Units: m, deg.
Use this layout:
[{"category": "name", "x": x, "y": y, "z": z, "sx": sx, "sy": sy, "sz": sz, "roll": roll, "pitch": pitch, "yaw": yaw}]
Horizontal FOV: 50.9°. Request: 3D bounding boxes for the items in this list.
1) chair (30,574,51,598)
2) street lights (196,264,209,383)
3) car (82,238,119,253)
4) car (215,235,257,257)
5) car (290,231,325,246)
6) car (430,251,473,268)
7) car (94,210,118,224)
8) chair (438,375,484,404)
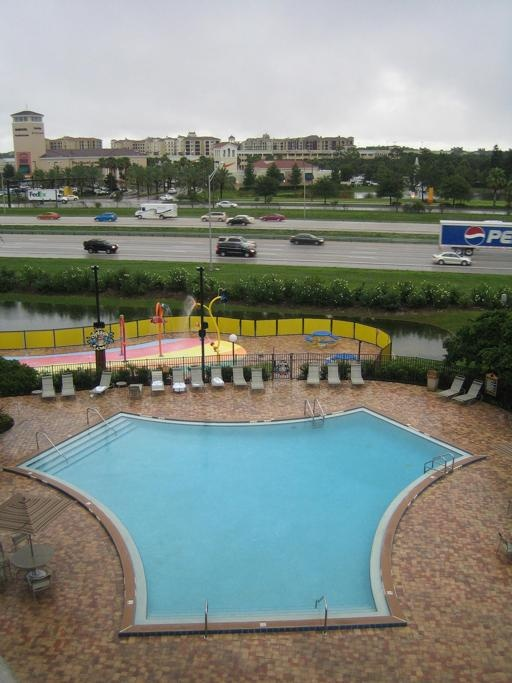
[{"category": "chair", "x": -4.012, "y": 4.540, "z": 10.108, "sx": 0.301, "sy": 0.449, "sz": 0.339, "roll": -5, "pitch": 40, "yaw": -25}, {"category": "street lights", "x": -2.404, "y": -0.655, "z": 24.097, "sx": 0.759, "sy": 4.896, "sz": 0.633, "roll": -6, "pitch": 18, "yaw": -21}, {"category": "car", "x": -16.320, "y": -9.932, "z": 56.412, "sx": 3.461, "sy": 1.399, "sz": 1.330, "roll": 4, "pitch": 10, "yaw": 25}, {"category": "car", "x": -2.057, "y": -9.618, "z": 55.181, "sx": 3.972, "sy": 1.979, "sz": 2.121, "roll": 0, "pitch": 9, "yaw": -2}, {"category": "car", "x": 5.898, "y": -11.755, "z": 62.376, "sx": 3.644, "sy": 1.424, "sz": 1.861, "roll": 1, "pitch": 9, "yaw": 6}, {"category": "car", "x": 18.517, "y": -7.620, "z": 50.947, "sx": 3.450, "sy": 1.264, "sz": 1.627, "roll": 0, "pitch": 19, "yaw": 8}, {"category": "car", "x": -22.542, "y": -18.517, "z": 80.660, "sx": 2.932, "sy": 1.685, "sz": 5.231, "roll": -3, "pitch": 10, "yaw": -20}, {"category": "chair", "x": 8.078, "y": 1.937, "z": 20.981, "sx": 1.297, "sy": 0.635, "sz": 0.941, "roll": -11, "pitch": 18, "yaw": -43}]
